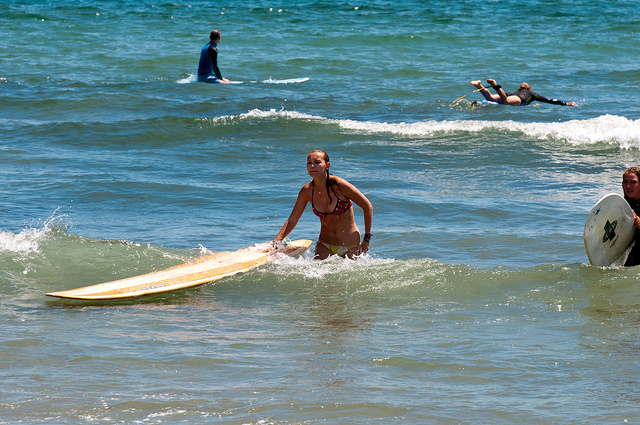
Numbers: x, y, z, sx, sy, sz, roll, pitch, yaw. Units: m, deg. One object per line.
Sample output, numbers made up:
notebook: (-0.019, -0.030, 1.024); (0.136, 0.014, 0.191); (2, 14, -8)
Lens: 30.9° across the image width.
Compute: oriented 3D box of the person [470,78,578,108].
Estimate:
person: (5.352, -3.261, 31.999); (1.695, 0.363, 1.547); (3, 10, -16)

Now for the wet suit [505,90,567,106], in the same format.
wet suit: (5.965, -3.169, 32.204); (0.879, 0.137, 0.873); (13, 6, 33)

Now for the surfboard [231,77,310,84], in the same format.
surfboard: (-1.495, -3.885, 34.097); (2.537, 0.093, 0.245); (-3, 44, -10)

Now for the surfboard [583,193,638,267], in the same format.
surfboard: (5.310, 0.336, 21.196); (1.217, 1.404, 0.229); (-17, 26, -31)

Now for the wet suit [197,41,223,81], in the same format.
wet suit: (-3.121, -4.298, 32.799); (0.673, 1.241, 0.996); (-9, 21, -10)
